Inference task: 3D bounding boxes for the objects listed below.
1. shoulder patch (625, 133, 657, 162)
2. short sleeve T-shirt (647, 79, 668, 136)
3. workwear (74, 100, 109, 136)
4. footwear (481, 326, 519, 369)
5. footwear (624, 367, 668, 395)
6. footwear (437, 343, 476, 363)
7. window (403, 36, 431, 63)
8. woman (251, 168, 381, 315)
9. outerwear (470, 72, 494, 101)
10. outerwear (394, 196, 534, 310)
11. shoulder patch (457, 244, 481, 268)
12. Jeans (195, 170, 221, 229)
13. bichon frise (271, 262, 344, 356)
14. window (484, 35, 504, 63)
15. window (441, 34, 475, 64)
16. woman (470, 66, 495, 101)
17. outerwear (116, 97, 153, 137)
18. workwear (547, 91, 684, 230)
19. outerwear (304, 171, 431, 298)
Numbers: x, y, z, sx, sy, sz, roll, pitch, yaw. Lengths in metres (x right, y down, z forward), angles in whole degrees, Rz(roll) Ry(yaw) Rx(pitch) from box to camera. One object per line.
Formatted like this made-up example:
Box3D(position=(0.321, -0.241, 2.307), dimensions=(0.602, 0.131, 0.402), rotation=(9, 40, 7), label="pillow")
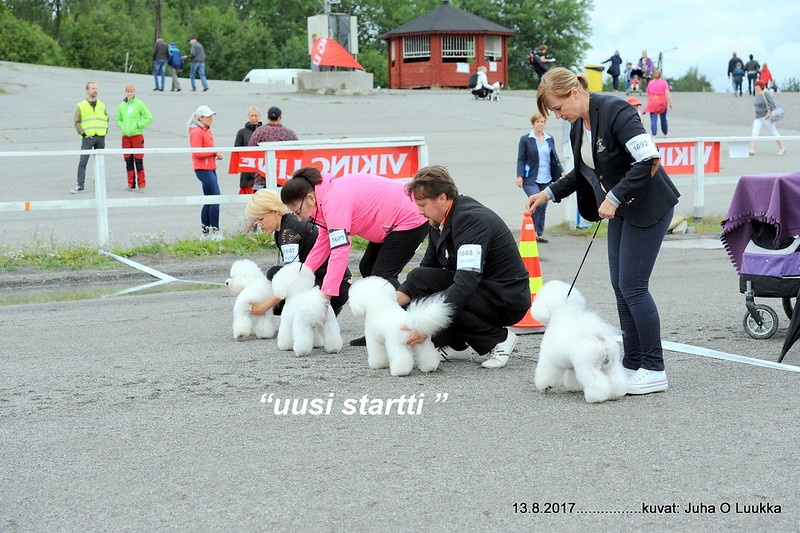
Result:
Box3D(position=(2.060, -1.014, 8.915), dimensions=(0.245, 0.242, 0.098), rotation=(-23, -10, 5), label="shoulder patch")
Box3D(position=(6.440, -4.079, 26.075), dimensions=(0.666, 1.678, 0.614), rotation=(2, 5, 13), label="short sleeve T-shirt")
Box3D(position=(-5.720, -2.776, 19.471), dimensions=(0.544, 0.704, 0.396), rotation=(-4, 9, -20), label="workwear")
Box3D(position=(0.997, 0.849, 10.177), dimensions=(0.198, 0.502, 0.189), rotation=(25, -10, 43), label="footwear")
Box3D(position=(2.197, 1.041, 9.380), dimensions=(0.381, 0.165, 0.188), rotation=(1, 5, -2), label="footwear")
Box3D(position=(0.562, 0.864, 10.352), dimensions=(0.368, 0.144, 0.132), rotation=(3, 8, -4), label="footwear")
Box3D(position=(0.909, -11.689, 55.984), dimensions=(1.821, 1.323, 0.312), rotation=(7, 12, 44), label="window")
Box3D(position=(-0.438, -0.291, 10.945), dimensions=(1.738, 1.504, 1.160), rotation=(-7, 12, -23), label="woman")
Box3D(position=(3.166, -6.918, 39.736), dimensions=(1.143, 1.088, 0.875), rotation=(-11, 19, -32), label="outerwear")
Box3D(position=(0.539, -0.101, 10.273), dimensions=(1.438, 1.141, 1.462), rotation=(-7, 12, -23), label="outerwear")
Box3D(position=(0.649, -0.096, 9.780), dimensions=(0.219, 0.220, 0.213), rotation=(0, -1, -1), label="shoulder patch")
Box3D(position=(-2.916, -1.039, 16.001), dimensions=(0.299, 0.913, 0.658), rotation=(-3, 8, -11), label="Jeans")
Box3D(position=(-0.926, 0.429, 10.539), dimensions=(0.678, 0.910, 0.362), rotation=(-2, 8, -5), label="bichon frise")
Box3D(position=(5.087, -12.023, 57.339), dimensions=(0.083, 1.095, 1.578), rotation=(1, 5, 30), label="window")
Box3D(position=(3.042, -11.727, 55.786), dimensions=(1.669, 0.999, 0.077), rotation=(-5, 8, -31), label="window")
Box3D(position=(3.111, -6.994, 39.714), dimensions=(1.045, 1.226, 1.009), rotation=(0, 7, -25), label="woman")
Box3D(position=(-4.949, -2.797, 19.539), dimensions=(0.578, 0.715, 0.558), rotation=(-4, 9, -16), label="outerwear")
Box3D(position=(1.859, -0.941, 9.246), dimensions=(0.596, 1.162, 1.019), rotation=(-9, 11, -42), label="workwear")
Box3D(position=(-0.335, -0.488, 10.848), dimensions=(1.441, 1.059, 0.905), rotation=(-20, 15, -21), label="outerwear")
